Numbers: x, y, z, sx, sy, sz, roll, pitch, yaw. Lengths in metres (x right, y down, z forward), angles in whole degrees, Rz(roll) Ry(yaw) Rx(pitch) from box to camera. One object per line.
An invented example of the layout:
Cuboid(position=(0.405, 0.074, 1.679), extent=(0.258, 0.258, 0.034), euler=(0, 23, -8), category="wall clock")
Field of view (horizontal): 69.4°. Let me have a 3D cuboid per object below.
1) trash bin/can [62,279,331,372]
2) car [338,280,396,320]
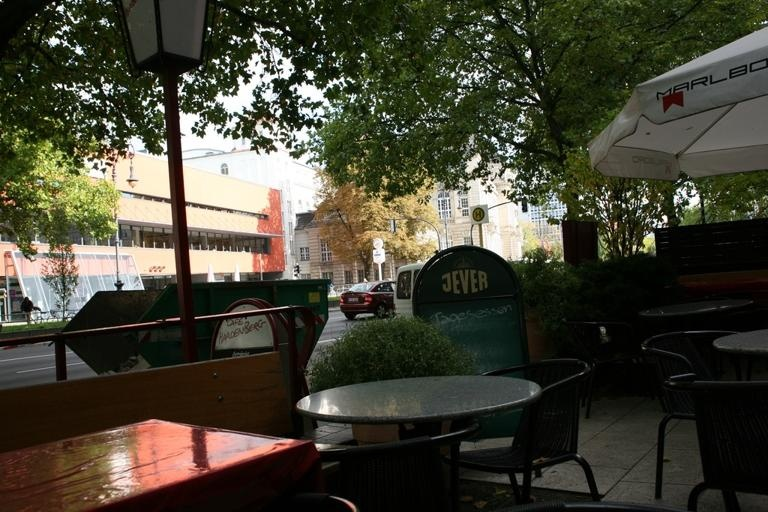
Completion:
Cuboid(position=(-3.565, 1.174, 10.384), extent=(2.735, 1.347, 3.383), euler=(-7, -6, 43), category="trash bin/can")
Cuboid(position=(-0.792, 2.254, 28.318), extent=(2.592, 1.899, 1.908), euler=(-3, -3, -4), category="car")
